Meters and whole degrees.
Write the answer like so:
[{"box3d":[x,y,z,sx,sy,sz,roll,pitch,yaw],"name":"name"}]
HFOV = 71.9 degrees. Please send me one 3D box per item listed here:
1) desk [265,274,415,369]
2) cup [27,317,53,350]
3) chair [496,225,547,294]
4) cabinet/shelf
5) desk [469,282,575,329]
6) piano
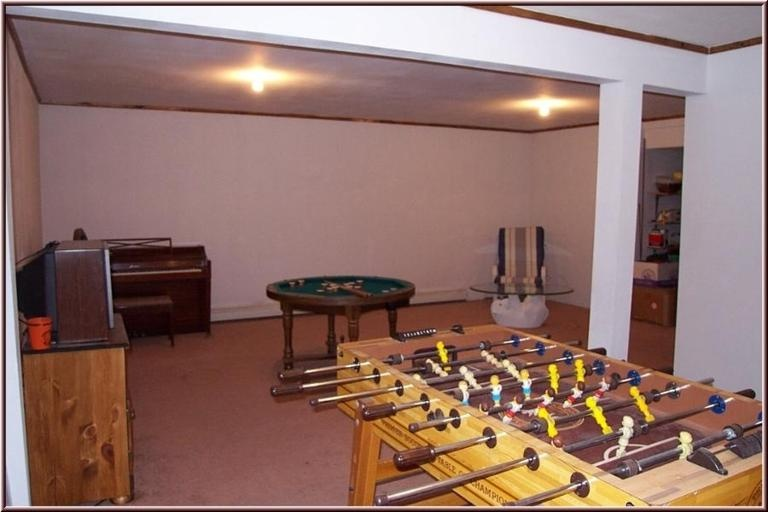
[{"box3d":[-0.470,0.694,5.508,1.418,0.898,1.329,-2,11,-12],"name":"desk"},{"box3d":[-2.143,0.482,3.380,0.198,0.184,0.184,3,4,0],"name":"cup"},{"box3d":[2.093,-0.027,7.962,0.931,1.204,1.021,1,3,18],"name":"chair"},{"box3d":[-1.938,0.977,3.319,0.527,1.000,1.223,-3,7,-25],"name":"cabinet/shelf"},{"box3d":[1.780,0.642,6.905,1.083,0.636,1.032,2,11,7],"name":"desk"},{"box3d":[-2.623,0.363,6.068,1.260,1.117,0.410,-3,5,-36],"name":"piano"}]
